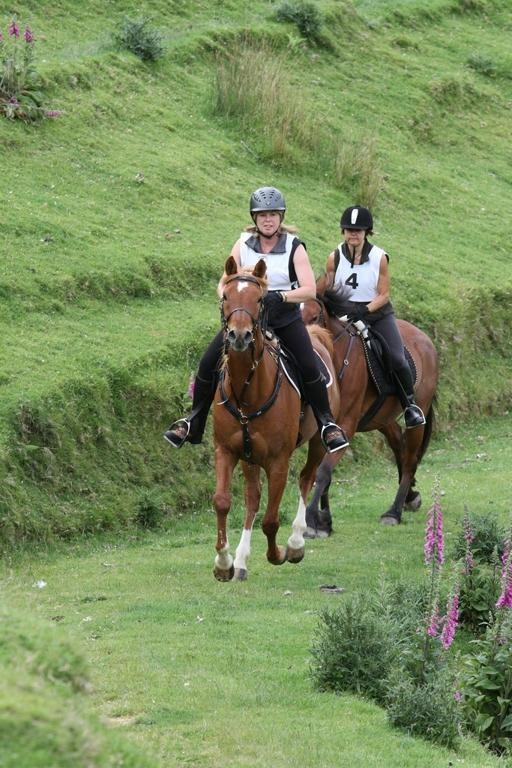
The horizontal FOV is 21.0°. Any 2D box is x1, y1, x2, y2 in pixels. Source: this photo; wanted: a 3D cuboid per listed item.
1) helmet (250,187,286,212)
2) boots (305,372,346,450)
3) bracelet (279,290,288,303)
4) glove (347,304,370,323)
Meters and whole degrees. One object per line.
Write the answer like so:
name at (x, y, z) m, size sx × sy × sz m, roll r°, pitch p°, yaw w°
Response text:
helmet at (0.096, -1.695, 12.760) m, size 0.208 × 0.233 × 0.300 m, roll 1°, pitch 24°, yaw -2°
boots at (0.658, 0.259, 13.558) m, size 0.284 × 0.206 × 0.880 m, roll -20°, pitch 50°, yaw -7°
bracelet at (0.244, -0.795, 12.437) m, size 0.077 × 0.095 × 0.037 m, roll -1°, pitch -8°, yaw 42°
glove at (1.107, -0.762, 15.005) m, size 0.173 × 0.240 × 0.182 m, roll -2°, pitch -7°, yaw 17°
